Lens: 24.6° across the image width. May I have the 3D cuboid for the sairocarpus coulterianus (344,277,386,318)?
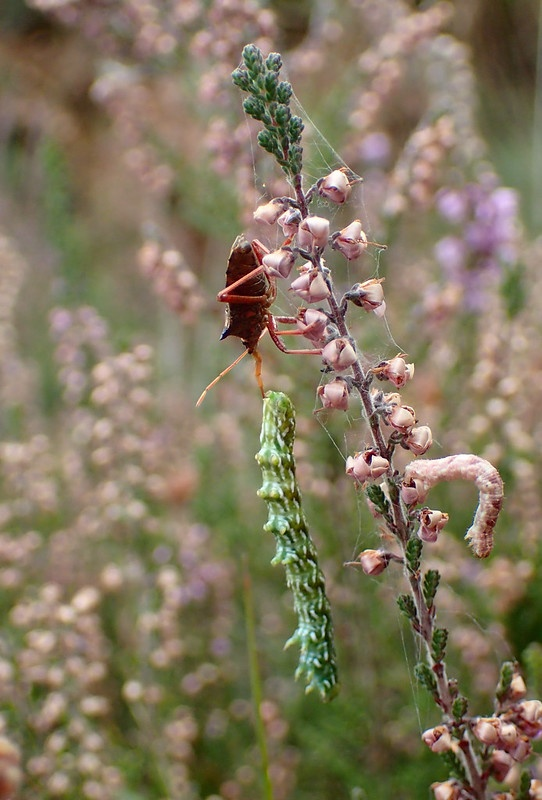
[{"bbox_3d":[0.106,-0.124,1.482,0.056,0.031,0.040,9,-29,-7],"label":"sairocarpus coulterianus"}]

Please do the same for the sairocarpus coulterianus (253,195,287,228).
[{"bbox_3d":[-0.008,-0.216,1.444,0.042,0.026,0.020,-46,3,-3],"label":"sairocarpus coulterianus"}]

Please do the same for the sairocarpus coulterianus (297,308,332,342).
[{"bbox_3d":[0.044,-0.084,1.454,0.035,0.040,0.021,-26,3,-11],"label":"sairocarpus coulterianus"}]

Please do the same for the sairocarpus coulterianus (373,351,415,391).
[{"bbox_3d":[0.149,-0.038,1.471,0.056,0.026,0.039,-3,-4,21],"label":"sairocarpus coulterianus"}]

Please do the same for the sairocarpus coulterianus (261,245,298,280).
[{"bbox_3d":[0.007,-0.158,1.412,0.040,0.032,0.020,-40,9,12],"label":"sairocarpus coulterianus"}]

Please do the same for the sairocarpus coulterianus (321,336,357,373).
[{"bbox_3d":[0.074,-0.052,1.414,0.040,0.037,0.029,-10,-28,34],"label":"sairocarpus coulterianus"}]

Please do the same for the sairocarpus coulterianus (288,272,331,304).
[{"bbox_3d":[0.040,-0.128,1.411,0.039,0.031,0.029,-20,8,3],"label":"sairocarpus coulterianus"}]

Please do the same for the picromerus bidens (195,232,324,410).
[{"bbox_3d":[-0.014,-0.117,1.575,0.144,0.248,0.117,-15,17,-42],"label":"picromerus bidens"}]

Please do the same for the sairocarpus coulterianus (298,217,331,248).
[{"bbox_3d":[0.041,-0.186,1.383,0.032,0.016,0.038,6,-32,12],"label":"sairocarpus coulterianus"}]

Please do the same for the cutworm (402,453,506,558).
[{"bbox_3d":[0.213,0.121,1.438,0.122,0.115,0.040,-4,-3,29],"label":"cutworm"}]
